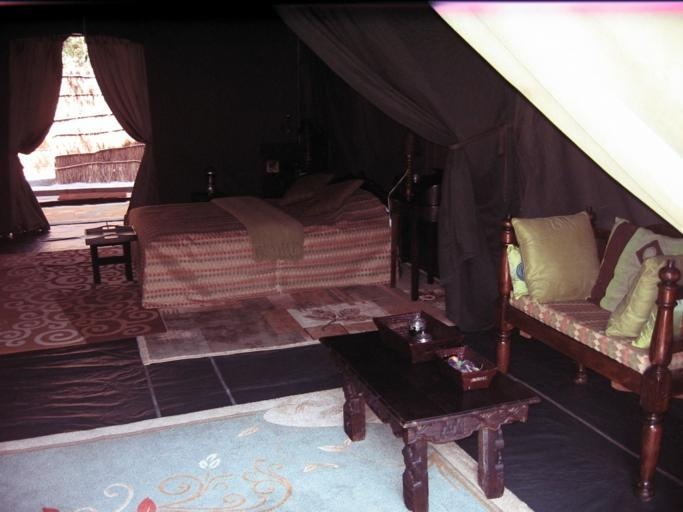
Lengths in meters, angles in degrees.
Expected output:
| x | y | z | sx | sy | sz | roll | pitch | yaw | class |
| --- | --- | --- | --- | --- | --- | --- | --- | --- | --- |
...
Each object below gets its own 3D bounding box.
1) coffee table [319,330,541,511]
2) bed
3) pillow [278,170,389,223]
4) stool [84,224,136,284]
| x | y | z | sx | sy | sz | roll | pitch | yaw | class |
| --- | --- | --- | --- | --- | --- | --- | --- | --- | --- |
| 0.362 | 0.447 | 2.238 | 0.653 | 0.505 | 1.039 | -5 | 17 | -21 | coffee table |
| -0.680 | -0.160 | 4.980 | 1.971 | 0.799 | 1.517 | -4 | 22 | -15 | bed |
| -0.191 | -0.555 | 5.404 | 0.839 | 0.179 | 0.788 | 8 | 38 | 36 | pillow |
| -2.408 | -0.006 | 5.335 | 0.331 | 0.432 | 0.595 | -3 | 15 | -19 | stool |
